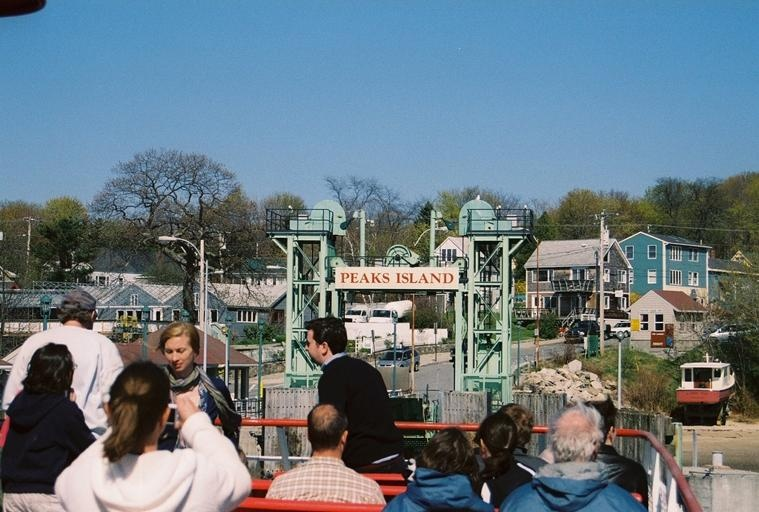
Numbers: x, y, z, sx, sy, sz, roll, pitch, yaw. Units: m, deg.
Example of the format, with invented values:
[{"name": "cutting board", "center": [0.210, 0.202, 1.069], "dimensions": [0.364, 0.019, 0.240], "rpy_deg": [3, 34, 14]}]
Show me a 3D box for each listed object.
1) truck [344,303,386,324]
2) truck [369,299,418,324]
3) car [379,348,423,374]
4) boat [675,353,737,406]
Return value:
[{"name": "truck", "center": [-1.572, 4.864, 109.091], "dimensions": [1.857, 1.769, 3.578], "rpy_deg": [-1, -7, 13]}, {"name": "truck", "center": [0.805, 4.804, 107.615], "dimensions": [1.476, 1.520, 5.249], "rpy_deg": [-1, -2, 19]}, {"name": "car", "center": [1.590, 7.551, 90.101], "dimensions": [1.726, 1.588, 3.937], "rpy_deg": [-3, -8, 21]}, {"name": "boat", "center": [20.655, 8.083, 78.720], "dimensions": [3.434, 2.655, 1.905], "rpy_deg": [1, -4, -1]}]
